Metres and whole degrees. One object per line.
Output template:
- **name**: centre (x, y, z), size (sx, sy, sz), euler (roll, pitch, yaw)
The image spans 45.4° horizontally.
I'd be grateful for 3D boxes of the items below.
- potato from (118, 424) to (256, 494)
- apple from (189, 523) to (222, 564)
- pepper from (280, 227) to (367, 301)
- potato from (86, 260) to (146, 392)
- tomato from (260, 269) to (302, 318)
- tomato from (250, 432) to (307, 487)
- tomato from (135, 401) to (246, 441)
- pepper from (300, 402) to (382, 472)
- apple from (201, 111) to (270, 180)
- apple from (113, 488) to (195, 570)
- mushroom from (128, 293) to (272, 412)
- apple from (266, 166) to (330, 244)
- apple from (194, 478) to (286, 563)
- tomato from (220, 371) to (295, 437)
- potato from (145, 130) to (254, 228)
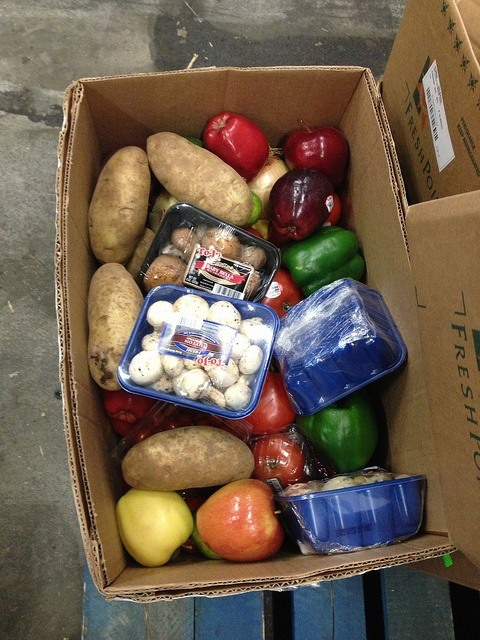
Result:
- **potato**: centre (-0.116, 0.317, 1.292), size (0.284, 0.148, 0.134), euler (-1, 72, -2)
- **apple**: centre (-0.093, 0.544, 1.404), size (0.069, 0.051, 0.090), euler (-40, 92, -34)
- **pepper**: centre (0.214, -0.200, 1.669), size (0.198, 0.144, 0.172), euler (-31, 45, 5)
- **potato**: centre (-0.279, 0.015, 1.442), size (0.146, 0.124, 0.287), euler (1, 71, 11)
- **tomato**: centre (0.118, -0.077, 1.724), size (0.137, 0.122, 0.127), euler (9, 43, -8)
- **tomato**: centre (0.099, 0.362, 1.548), size (0.127, 0.128, 0.129), euler (-30, 81, -5)
- **tomato**: centre (-0.116, 0.267, 1.461), size (0.184, 0.055, 0.124), euler (7, 59, 5)
- **pepper**: centre (0.258, 0.293, 1.452), size (0.118, 0.142, 0.116), euler (-31, 28, 3)
- **apple**: centre (-0.021, -0.499, 1.629), size (0.185, 0.138, 0.135), euler (35, 84, 12)
- **apple**: centre (-0.208, 0.475, 1.369), size (0.176, 0.172, 0.177), euler (3, 102, 5)
- **mushroom**: centre (-0.090, 0.057, 1.323), size (0.322, 0.091, 0.292), euler (14, 67, 3)
- **apple**: centre (0.169, -0.342, 1.629), size (0.212, 0.162, 0.165), euler (-1, 80, -2)
- **apple**: centre (0.006, 0.462, 1.383), size (0.218, 0.210, 0.218), euler (-5, 103, -1)
- **tomato**: centre (0.035, 0.229, 1.577), size (0.162, 0.164, 0.160), euler (5, 78, -34)
- **potato**: centre (-0.139, -0.398, 1.584), size (0.298, 0.132, 0.153), euler (37, 42, -1)
